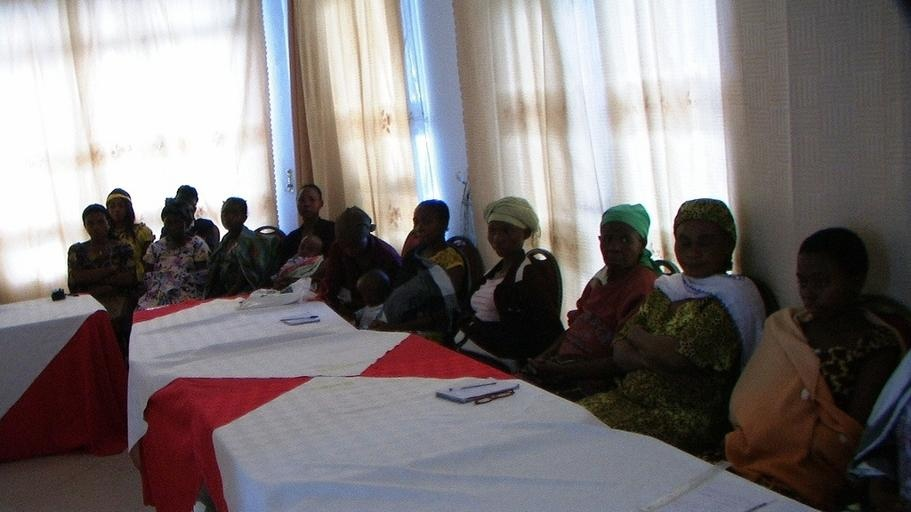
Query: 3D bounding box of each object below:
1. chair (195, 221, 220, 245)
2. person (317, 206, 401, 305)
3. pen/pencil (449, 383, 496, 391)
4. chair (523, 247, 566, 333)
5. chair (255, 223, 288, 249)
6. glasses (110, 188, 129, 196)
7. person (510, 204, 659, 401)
[{"bbox_3d":[-2.355,-0.219,5.786,0.184,0.239,0.142,-28,-1,12],"label":"chair"},{"bbox_3d":[-0.689,0.024,4.413,0.677,0.672,0.659,-5,12,-22],"label":"person"},{"bbox_3d":[0.085,0.561,2.682,0.131,0.012,0.024,-5,15,-15],"label":"pen/pencil"},{"bbox_3d":[0.562,0.200,3.672,0.165,0.435,0.337,-17,-12,25],"label":"chair"},{"bbox_3d":[-1.596,-0.172,5.345,0.272,0.121,0.369,-2,13,-37],"label":"chair"},{"bbox_3d":[-3.085,-0.584,5.597,0.141,0.049,0.131,-1,-8,-2],"label":"glasses"},{"bbox_3d":[0.868,0.246,3.804,1.031,1.229,1.005,1,2,-9],"label":"person"}]
